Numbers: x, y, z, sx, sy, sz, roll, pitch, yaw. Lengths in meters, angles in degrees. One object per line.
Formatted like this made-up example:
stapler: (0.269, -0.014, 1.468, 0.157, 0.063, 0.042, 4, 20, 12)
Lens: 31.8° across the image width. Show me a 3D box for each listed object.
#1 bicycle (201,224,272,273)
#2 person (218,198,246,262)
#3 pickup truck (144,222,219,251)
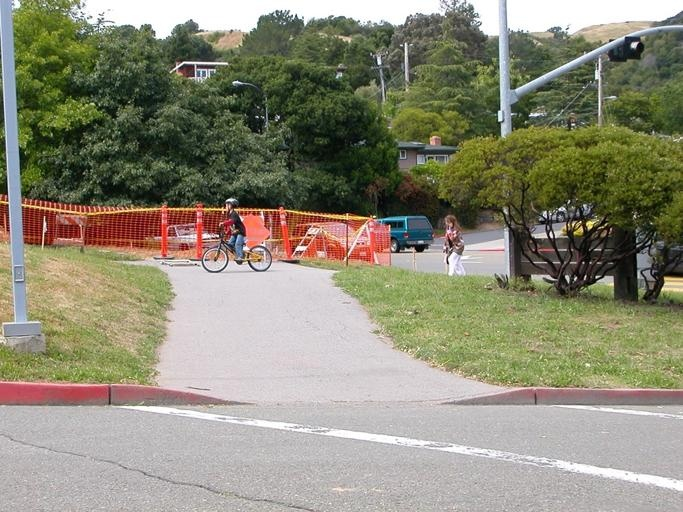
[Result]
bicycle: (-2.947, -0.220, 33.883, 1.973, 1.247, 0.970, -2, -13, 2)
person: (-2.976, -0.787, 33.640, 0.630, 1.792, 0.713, 3, 4, -23)
pickup truck: (-5.307, -0.710, 41.443, 1.593, 1.162, 1.830, 6, 4, 44)
